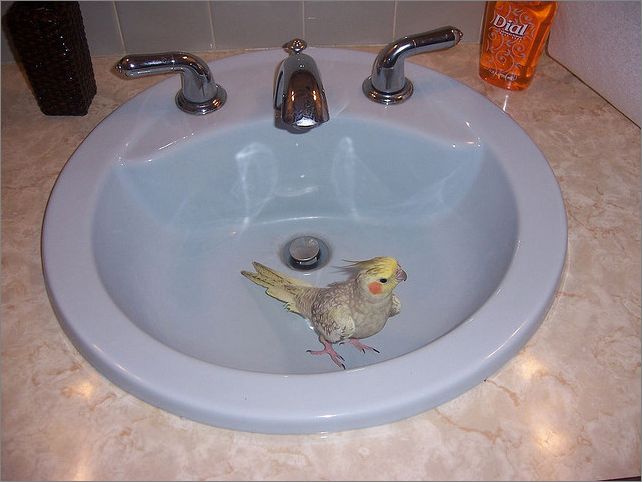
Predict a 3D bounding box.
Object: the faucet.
[{"bbox_3d":[-0.031,-0.220,0.711,0.065,0.094,0.214,-3,22,-7],"label":"faucet"}]
